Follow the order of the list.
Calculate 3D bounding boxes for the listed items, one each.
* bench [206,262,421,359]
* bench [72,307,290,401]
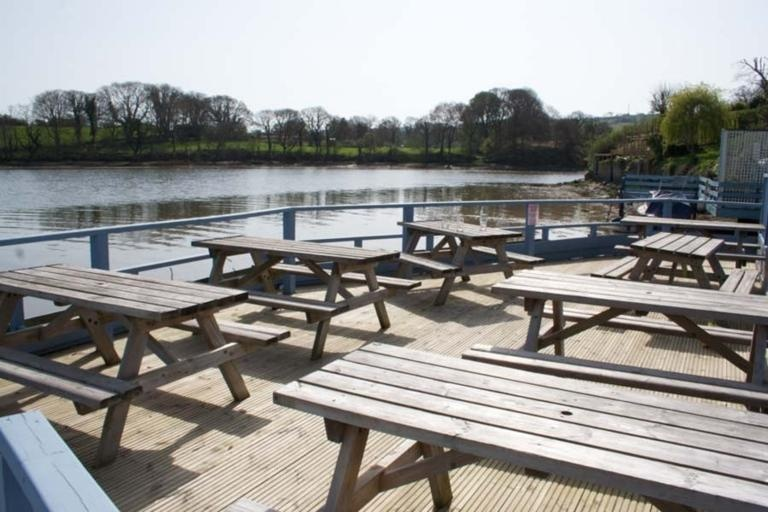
[{"bbox_3d":[-0.924,0.403,5.278,1.596,0.474,1.178,7,12,31],"label":"bench"},{"bbox_3d":[-1.334,0.731,3.818,0.879,0.424,0.893,2,3,33],"label":"bench"}]
